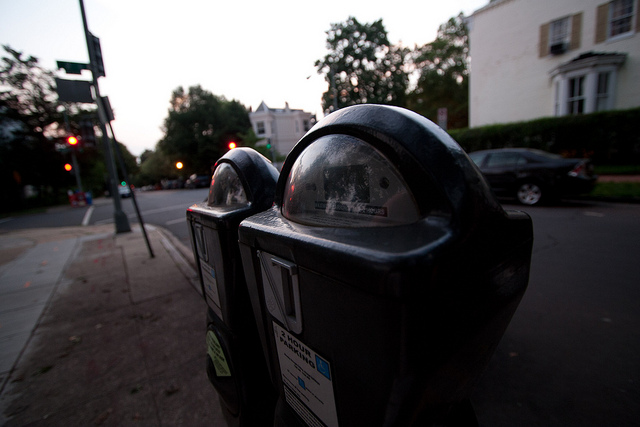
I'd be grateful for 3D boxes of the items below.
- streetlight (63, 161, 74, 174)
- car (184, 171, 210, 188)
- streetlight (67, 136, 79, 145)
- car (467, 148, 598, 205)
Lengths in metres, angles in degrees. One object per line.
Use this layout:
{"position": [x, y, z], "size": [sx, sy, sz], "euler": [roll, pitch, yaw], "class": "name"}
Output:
{"position": [-14.654, -3.103, 23.122], "size": [0.879, 0.966, 0.218], "euler": [0, -4, 25], "class": "streetlight"}
{"position": [-9.501, -2.982, 30.924], "size": [1.857, 1.492, 4.159], "euler": [-3, 8, -31], "class": "car"}
{"position": [-7.556, -2.518, 12.026], "size": [0.289, 0.167, 0.287], "euler": [15, -32, -39], "class": "streetlight"}
{"position": [4.109, -0.793, 7.543], "size": [1.030, 0.798, 2.259], "euler": [-14, 18, -41], "class": "car"}
